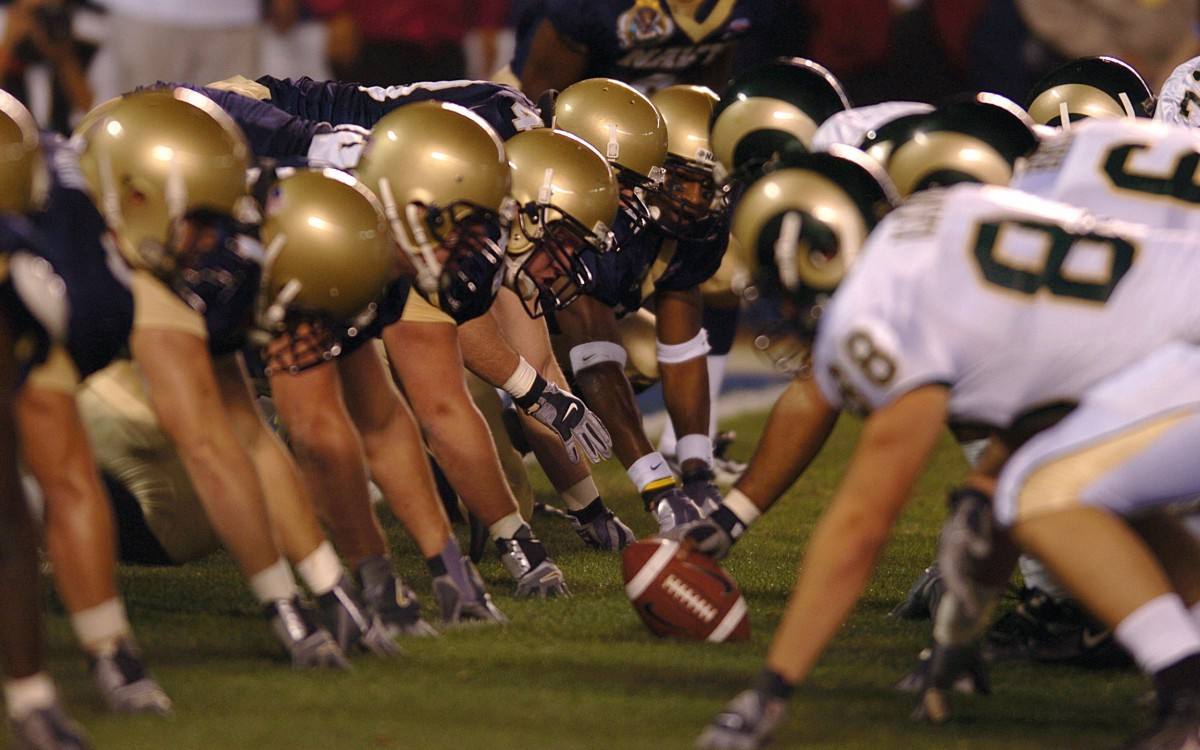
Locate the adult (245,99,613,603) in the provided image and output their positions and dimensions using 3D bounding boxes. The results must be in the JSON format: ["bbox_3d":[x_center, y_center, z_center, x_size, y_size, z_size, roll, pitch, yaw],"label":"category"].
[{"bbox_3d":[-0.282,-0.180,3.653,0.544,0.897,1.603,-1,25,-40],"label":"adult"}]

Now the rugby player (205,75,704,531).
[{"bbox_3d":[-0.320,-0.249,4.045,1.595,0.448,1.068,21,40,3],"label":"rugby player"}]

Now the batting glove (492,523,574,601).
[{"bbox_3d":[-0.194,0.498,3.851,0.136,0.091,0.231,-12,59,-27],"label":"batting glove"}]

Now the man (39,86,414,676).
[{"bbox_3d":[-0.823,-0.068,3.436,0.559,1.639,0.510,-20,4,25],"label":"man"}]

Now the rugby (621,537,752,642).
[{"bbox_3d":[0.202,0.533,3.550,0.317,0.191,0.197,35,2,-6],"label":"rugby"}]

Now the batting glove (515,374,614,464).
[{"bbox_3d":[-0.083,0.122,3.852,0.286,0.091,0.181,38,28,-24],"label":"batting glove"}]

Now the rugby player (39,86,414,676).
[{"bbox_3d":[-0.836,-0.068,3.443,0.559,1.639,0.510,-20,4,25],"label":"rugby player"}]

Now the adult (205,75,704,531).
[{"bbox_3d":[-0.308,-0.257,4.015,1.595,0.448,1.067,21,40,3],"label":"adult"}]

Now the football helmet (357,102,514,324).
[{"bbox_3d":[-0.409,-0.429,3.517,0.443,0.467,0.363,16,12,24],"label":"football helmet"}]

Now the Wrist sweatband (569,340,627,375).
[{"bbox_3d":[0.000,-0.045,4.232,0.144,0.040,0.084,-1,-19,-12],"label":"Wrist sweatband"}]

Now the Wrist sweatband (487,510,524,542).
[{"bbox_3d":[-0.241,0.400,3.827,0.083,0.071,0.067,-34,3,11],"label":"Wrist sweatband"}]

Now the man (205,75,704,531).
[{"bbox_3d":[-0.324,-0.264,4.065,1.595,0.448,1.068,21,40,3],"label":"man"}]
